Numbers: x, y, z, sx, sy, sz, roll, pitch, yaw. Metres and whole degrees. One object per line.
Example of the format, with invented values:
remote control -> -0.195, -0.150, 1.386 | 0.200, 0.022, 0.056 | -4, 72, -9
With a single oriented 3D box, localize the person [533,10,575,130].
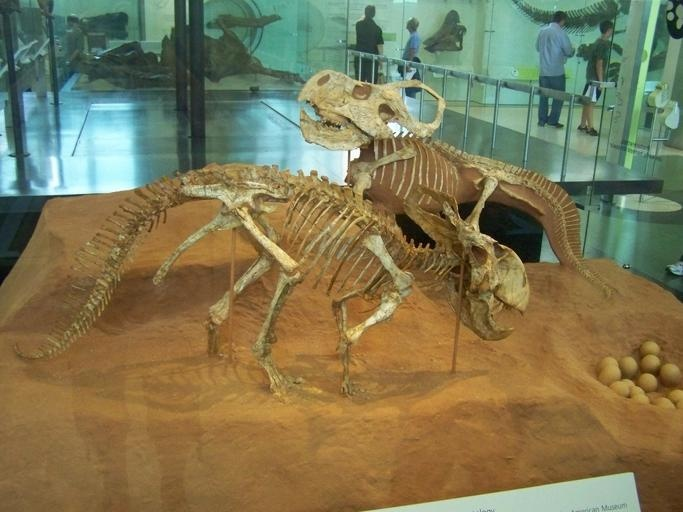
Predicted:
person -> 1.686, -1.453, 4.627 | 0.280, 0.843, 0.386 | 5, 10, 19

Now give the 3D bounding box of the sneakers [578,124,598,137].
sneakers -> 1.864, -0.948, 4.423 | 0.049, 0.050, 0.136 | -27, 30, -30

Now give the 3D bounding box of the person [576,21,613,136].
person -> 1.817, -1.261, 4.194 | 0.168, 0.774, 0.627 | 6, 9, 20

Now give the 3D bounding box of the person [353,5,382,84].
person -> 0.203, -1.830, 5.094 | 0.308, 0.649, 0.114 | 10, 12, 42

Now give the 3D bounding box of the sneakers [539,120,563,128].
sneakers -> 1.723, -1.077, 4.798 | 0.184, 0.068, 0.056 | 6, 26, 20
